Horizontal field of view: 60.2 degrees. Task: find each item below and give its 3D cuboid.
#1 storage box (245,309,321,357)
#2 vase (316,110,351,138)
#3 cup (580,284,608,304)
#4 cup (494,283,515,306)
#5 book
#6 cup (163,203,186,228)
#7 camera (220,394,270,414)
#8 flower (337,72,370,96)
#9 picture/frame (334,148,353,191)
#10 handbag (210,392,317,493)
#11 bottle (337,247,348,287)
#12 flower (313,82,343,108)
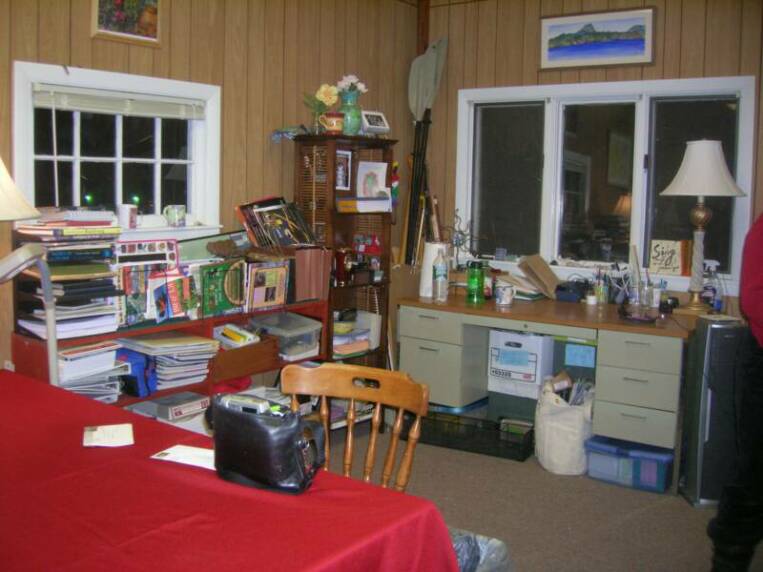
[{"bbox_3d":[-0.558,0.294,4.055,0.343,0.167,0.279,7,10,39],"label":"storage box"},{"bbox_3d":[-0.300,-1.030,4.204,0.201,0.153,0.143,2,7,14],"label":"vase"},{"bbox_3d":[1.425,0.072,4.381,0.161,0.166,0.093,0,3,18],"label":"cup"},{"bbox_3d":[0.814,0.066,4.412,0.141,0.133,0.099,-1,3,-15],"label":"cup"},{"bbox_3d":[-1.280,0.156,3.143,0.313,0.807,0.850,5,10,33],"label":"book"},{"bbox_3d":[-1.211,-0.404,3.870,0.143,0.146,0.104,1,7,-16],"label":"cup"},{"bbox_3d":[-0.374,0.323,1.838,0.103,0.029,0.058,6,8,18],"label":"camera"},{"bbox_3d":[-0.192,-1.290,4.226,0.172,0.108,0.098,0,11,-5],"label":"flower"},{"bbox_3d":[-0.247,-0.744,4.248,0.034,0.340,0.288,2,3,28],"label":"picture/frame"},{"bbox_3d":[-0.318,0.435,1.868,0.283,0.188,0.215,4,5,14],"label":"handbag"},{"bbox_3d":[-0.254,-0.111,4.284,0.083,0.219,0.099,-1,11,-6],"label":"bottle"},{"bbox_3d":[-0.341,-1.188,4.147,0.155,0.123,0.195,-1,11,-7],"label":"flower"}]
